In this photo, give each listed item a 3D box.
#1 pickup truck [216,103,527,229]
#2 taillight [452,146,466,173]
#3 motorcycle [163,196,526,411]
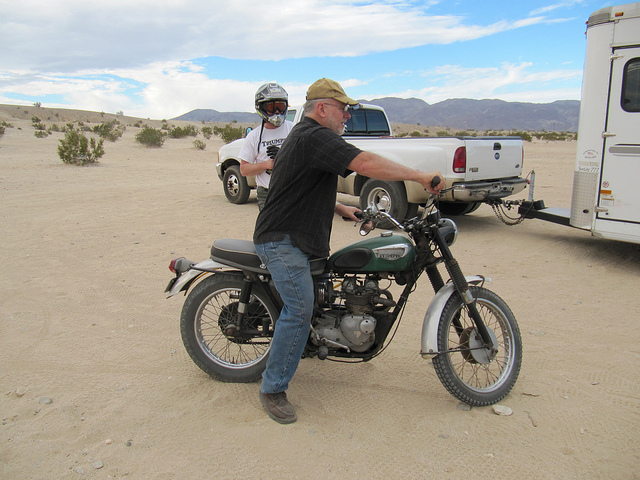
[{"bbox_3d":[0.857,-1.803,10.792,6.701,1.946,2.634,12,20,43],"label":"pickup truck"},{"bbox_3d":[2.329,-1.334,7.979,0.211,0.411,0.080,-5,16,-15],"label":"taillight"},{"bbox_3d":[0.307,0.491,4.365,3.360,1.474,1.154,2,-3,-1],"label":"motorcycle"}]
